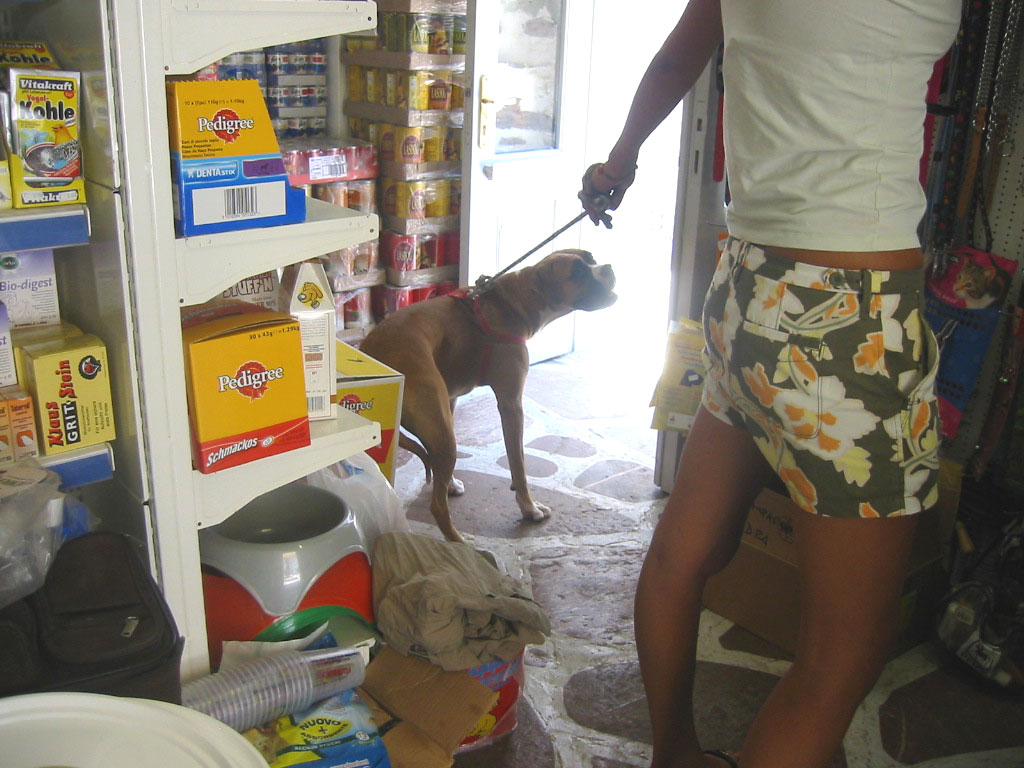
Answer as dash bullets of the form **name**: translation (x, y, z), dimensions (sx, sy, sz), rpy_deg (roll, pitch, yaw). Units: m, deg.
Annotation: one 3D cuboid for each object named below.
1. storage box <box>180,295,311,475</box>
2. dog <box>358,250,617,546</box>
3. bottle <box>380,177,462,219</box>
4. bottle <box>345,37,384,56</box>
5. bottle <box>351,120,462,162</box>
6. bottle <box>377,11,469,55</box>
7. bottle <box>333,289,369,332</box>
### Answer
- **storage box**: translation (-0.586, -0.036, 1.805), dimensions (0.289, 0.384, 0.384), rpy_deg (-10, 22, -26)
- **dog**: translation (-0.125, 0.036, 3.100), dimensions (1.223, 0.997, 0.462), rpy_deg (-12, 14, -39)
- **bottle**: translation (-0.535, -1.072, 4.572), dimensions (0.364, 0.180, 0.274), rpy_deg (-5, 17, -23)
- **bottle**: translation (-0.873, -1.964, 4.570), dimensions (0.206, 0.082, 0.149), rpy_deg (18, 29, 42)
- **bottle**: translation (-0.611, -1.384, 4.513), dimensions (0.352, 0.138, 0.362), rpy_deg (6, 18, -2)
- **bottle**: translation (-0.497, -1.903, 4.289), dimensions (0.485, 0.212, 0.321), rpy_deg (-3, 24, -8)
- **bottle**: translation (-0.905, -0.437, 4.651), dimensions (0.261, 0.257, 0.461), rpy_deg (-1, 11, -11)
